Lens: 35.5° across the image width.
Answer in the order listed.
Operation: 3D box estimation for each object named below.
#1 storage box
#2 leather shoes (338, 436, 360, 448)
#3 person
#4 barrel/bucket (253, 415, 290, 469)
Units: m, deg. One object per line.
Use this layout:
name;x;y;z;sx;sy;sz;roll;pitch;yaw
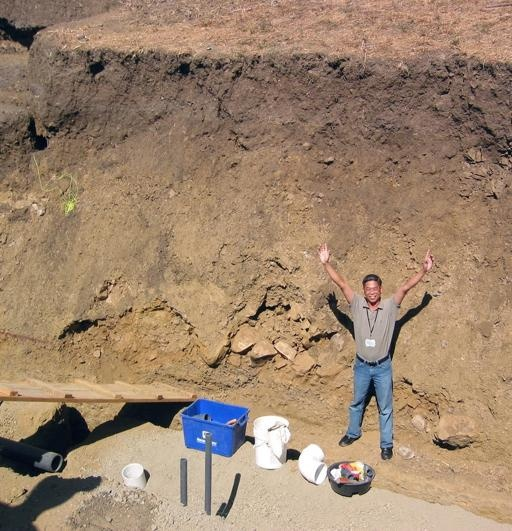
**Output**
storage box;-0.458;1.753;8.804;0.655;0.471;0.489;4;13;19
leather shoes;1.041;1.928;8.848;0.244;0.117;0.088;-6;18;-24
person;1.190;0.980;8.601;0.932;2.083;0.435;13;19;25
barrel/bucket;0.135;1.920;8.580;0.375;0.515;0.472;-1;8;-7
